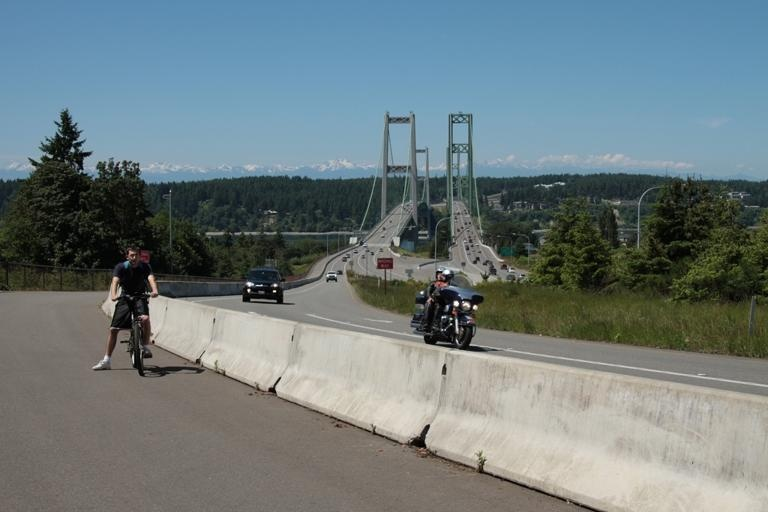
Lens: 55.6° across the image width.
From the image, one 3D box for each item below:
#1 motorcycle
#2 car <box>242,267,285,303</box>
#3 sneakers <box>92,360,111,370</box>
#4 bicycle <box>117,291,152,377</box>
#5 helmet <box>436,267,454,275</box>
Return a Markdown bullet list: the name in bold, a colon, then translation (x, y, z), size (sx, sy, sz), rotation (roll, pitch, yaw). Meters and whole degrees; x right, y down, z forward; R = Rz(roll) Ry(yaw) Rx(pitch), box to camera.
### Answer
- **motorcycle**: translation (1.596, 1.423, 16.881), size (1.590, 1.412, 0.641), rotation (1, 11, 44)
- **car**: translation (-6.237, 1.499, 38.023), size (1.288, 1.190, 2.359), rotation (0, -6, -4)
- **sneakers**: translation (-5.404, 2.068, 13.826), size (0.420, 0.196, 0.169), rotation (3, 6, 7)
- **bicycle**: translation (-4.659, 1.468, 13.740), size (0.529, 1.558, 1.134), rotation (-10, 9, -21)
- **helmet**: translation (1.479, 0.362, 17.465), size (0.262, 0.231, 0.202), rotation (1, -2, 6)
